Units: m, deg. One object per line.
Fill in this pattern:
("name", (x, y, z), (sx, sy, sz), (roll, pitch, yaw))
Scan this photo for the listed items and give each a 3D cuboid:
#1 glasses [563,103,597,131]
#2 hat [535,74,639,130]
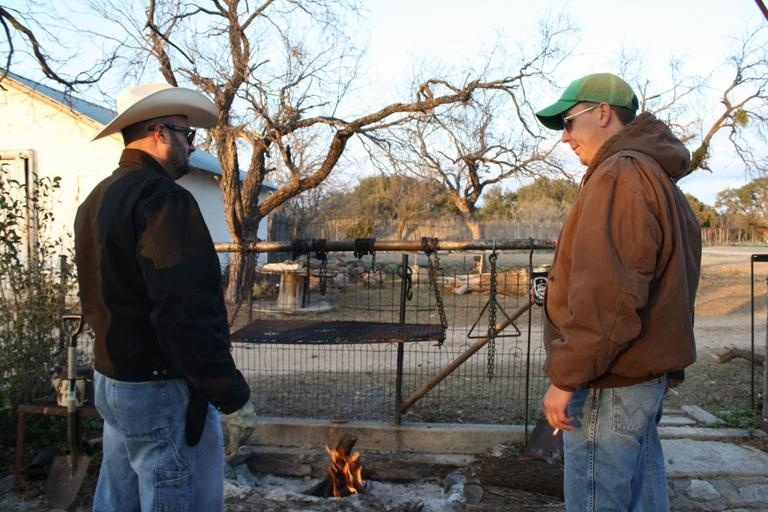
("glasses", (1.659, -1.187, 6.670), (0.205, 0.064, 0.211), (-12, -2, 8))
("hat", (1.759, -1.400, 6.873), (0.882, 0.511, 0.622), (4, 3, 5))
